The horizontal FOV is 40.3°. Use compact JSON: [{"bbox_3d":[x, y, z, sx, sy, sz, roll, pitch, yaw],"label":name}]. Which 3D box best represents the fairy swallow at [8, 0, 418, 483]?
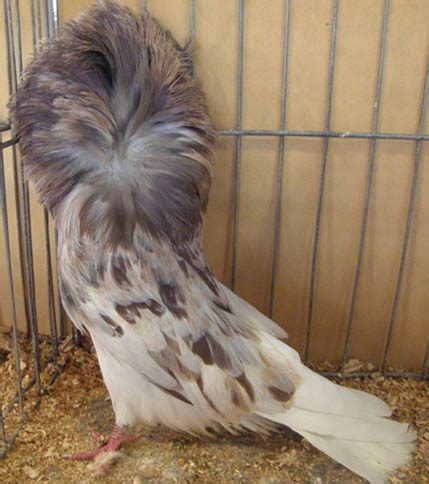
[{"bbox_3d":[-0.033,0.007,1.594,0.979,1.254,0.426,6,18,15],"label":"fairy swallow"}]
